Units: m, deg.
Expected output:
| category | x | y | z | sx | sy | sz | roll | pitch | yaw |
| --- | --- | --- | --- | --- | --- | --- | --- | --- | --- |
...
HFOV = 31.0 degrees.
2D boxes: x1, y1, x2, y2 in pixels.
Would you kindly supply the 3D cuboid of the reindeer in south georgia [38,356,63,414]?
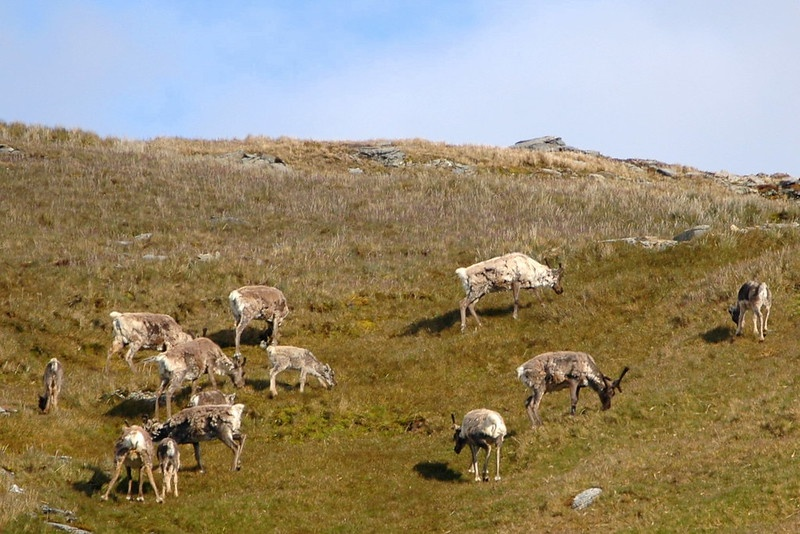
| category | x | y | z | sx | sy | sz | roll | pitch | yaw |
| --- | --- | --- | --- | --- | --- | --- | --- | --- | --- |
| reindeer in south georgia | -16.603 | 5.490 | 68.046 | 0.952 | 2.461 | 1.402 | 2 | -13 | -9 |
